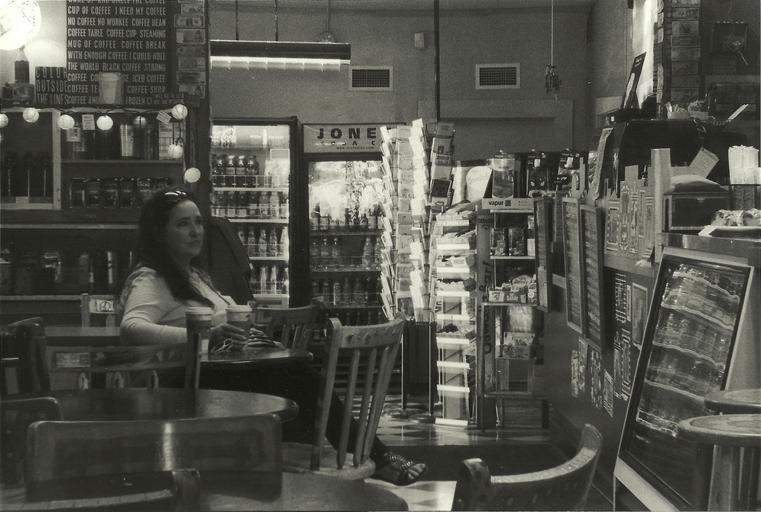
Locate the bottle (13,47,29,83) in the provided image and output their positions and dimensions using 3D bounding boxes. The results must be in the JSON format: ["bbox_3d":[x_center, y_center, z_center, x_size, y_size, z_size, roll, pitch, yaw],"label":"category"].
[{"bbox_3d":[-2.917,-1.574,7.344,0.111,0.330,0.314,-3,4,-21],"label":"bottle"}]

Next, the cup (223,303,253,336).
[{"bbox_3d":[-0.684,0.325,4.447,0.133,0.140,0.134,0,1,0],"label":"cup"}]

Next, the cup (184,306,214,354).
[{"bbox_3d":[-0.823,0.338,4.116,0.131,0.203,0.133,0,-5,0],"label":"cup"}]

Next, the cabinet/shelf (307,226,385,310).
[{"bbox_3d":[-0.371,0.157,9.758,0.921,0.869,0.324,0,3,2],"label":"cabinet/shelf"}]

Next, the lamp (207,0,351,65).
[{"bbox_3d":[-0.961,-2.137,8.485,1.219,0.720,1.489,-2,4,-10],"label":"lamp"}]

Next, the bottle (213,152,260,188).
[{"bbox_3d":[-1.545,-0.914,9.669,0.504,0.418,0.164,0,-19,-5],"label":"bottle"}]
